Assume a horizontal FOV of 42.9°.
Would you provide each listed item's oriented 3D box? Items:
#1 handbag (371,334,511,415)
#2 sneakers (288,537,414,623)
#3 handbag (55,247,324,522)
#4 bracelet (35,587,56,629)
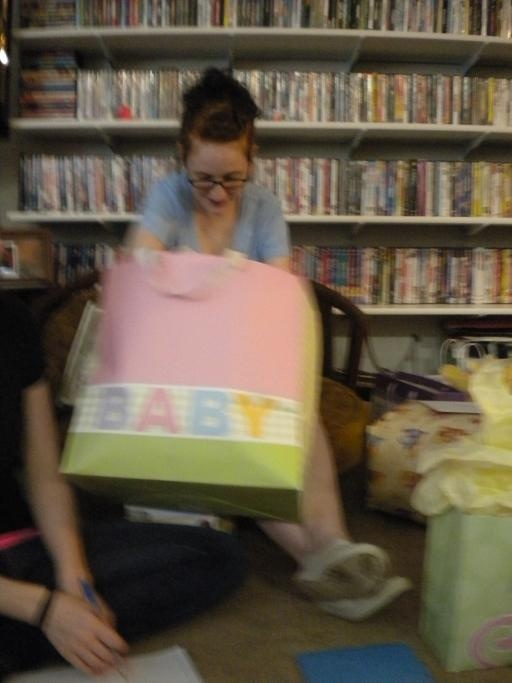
[{"bbox_3d":[0.315,0.052,1.137,0.131,0.110,0.208,6,4,-8],"label":"handbag"},{"bbox_3d":[0.101,0.254,0.704,0.078,0.067,0.129,14,24,39],"label":"sneakers"},{"bbox_3d":[-0.070,0.047,0.625,0.233,0.255,0.109,1,19,8],"label":"handbag"},{"bbox_3d":[-0.213,0.270,0.659,0.022,0.028,0.029,6,36,4],"label":"bracelet"}]
